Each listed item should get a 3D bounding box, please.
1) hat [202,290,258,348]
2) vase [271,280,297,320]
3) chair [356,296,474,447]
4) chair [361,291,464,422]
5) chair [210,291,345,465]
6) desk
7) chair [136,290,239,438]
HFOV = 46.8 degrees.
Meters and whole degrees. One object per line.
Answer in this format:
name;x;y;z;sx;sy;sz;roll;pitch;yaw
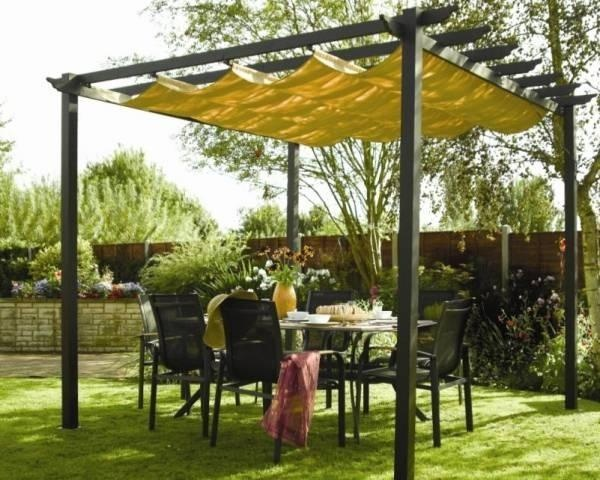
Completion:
hat;-0.658;0.659;6.522;0.464;0.570;0.512;-5;0;-32
vase;-0.187;0.593;7.051;0.270;0.450;0.301;-3;-7;25
chair;1.140;1.252;6.871;0.967;1.554;0.914;3;1;43
chair;1.203;1.281;6.770;0.647;0.938;0.696;6;-8;-5
chair;-0.322;1.299;6.494;0.733;1.411;0.867;3;0;26
desk;0.161;1.264;7.413;1.106;1.286;1.509;13;-1;-3
chair;-1.254;1.239;7.230;1.006;1.941;1.204;0;-4;17
